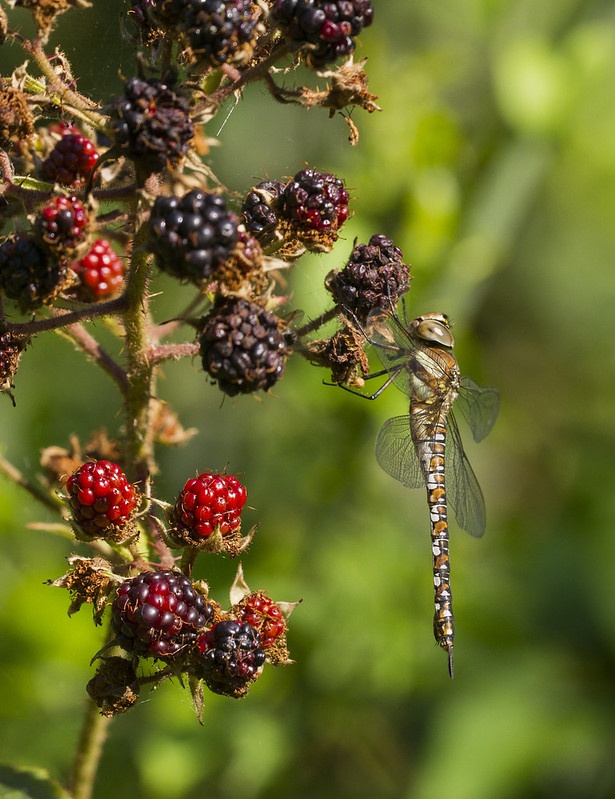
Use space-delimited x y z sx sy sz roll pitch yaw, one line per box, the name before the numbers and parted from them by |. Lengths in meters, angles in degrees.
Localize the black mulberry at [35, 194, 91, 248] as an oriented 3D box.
black mulberry | -0.536 -0.380 2.021 0.099 0.130 0.097 39 -88 -11
